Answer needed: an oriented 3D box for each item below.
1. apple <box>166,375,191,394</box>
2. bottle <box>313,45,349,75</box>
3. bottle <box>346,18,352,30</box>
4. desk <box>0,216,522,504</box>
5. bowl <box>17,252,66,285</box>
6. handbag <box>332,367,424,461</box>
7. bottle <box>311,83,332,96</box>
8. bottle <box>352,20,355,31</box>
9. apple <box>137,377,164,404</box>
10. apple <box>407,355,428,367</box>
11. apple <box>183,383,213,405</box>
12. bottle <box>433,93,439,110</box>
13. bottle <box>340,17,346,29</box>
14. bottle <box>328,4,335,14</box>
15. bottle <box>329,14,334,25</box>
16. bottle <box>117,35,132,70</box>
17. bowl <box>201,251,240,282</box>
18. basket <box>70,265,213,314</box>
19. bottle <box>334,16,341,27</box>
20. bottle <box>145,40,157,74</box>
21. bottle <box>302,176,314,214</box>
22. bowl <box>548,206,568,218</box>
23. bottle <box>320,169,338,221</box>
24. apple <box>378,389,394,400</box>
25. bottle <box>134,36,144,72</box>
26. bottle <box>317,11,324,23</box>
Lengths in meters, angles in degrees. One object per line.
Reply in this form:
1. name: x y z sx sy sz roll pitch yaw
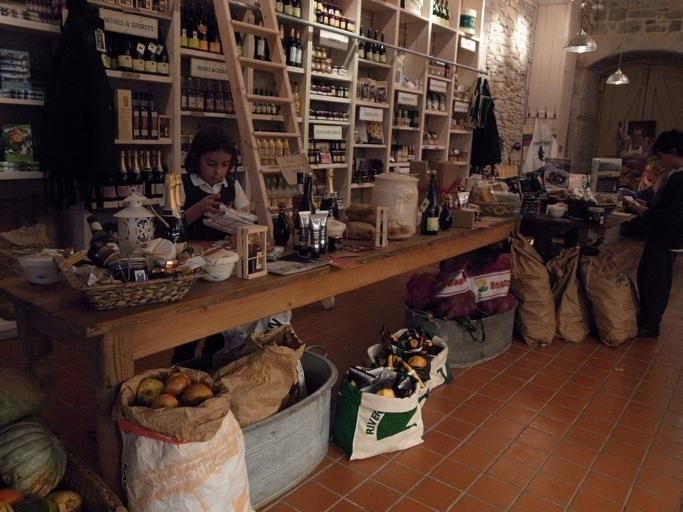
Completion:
1. apple: -0.692 0.546 2.024 0.062 0.047 0.082 -11 25 16
2. bottle: -0.151 -2.234 5.509 0.311 0.204 0.518 4 14 2
3. bottle: 0.106 -2.682 5.515 0.102 0.132 0.051 -13 18 -39
4. desk: -0.169 0.233 3.673 4.006 1.033 1.723 -15 20 -42
5. bowl: -1.346 0.059 2.159 0.207 0.117 0.181 0 11 -40
6. handbag: 0.254 0.954 2.821 0.563 0.421 0.321 0 9 -24
7. bottle: -0.256 -1.914 5.464 0.218 0.083 0.202 3 18 -1
8. bottle: 0.143 -2.681 5.527 0.048 0.134 0.067 -1 14 1
9. apple: -0.786 0.550 1.948 0.088 0.087 0.085 -7 25 -3
10. apple: 0.492 0.671 3.074 0.078 0.037 0.076 -9 12 -39
11. apple: -0.607 0.569 2.014 0.098 0.075 0.075 -8 10 -38
12. bottle: 1.468 -2.371 7.281 0.071 0.203 0.126 3 1 41
13. bottle: 0.022 -2.685 5.476 0.039 0.136 0.121 4 15 21
14. bottle: -0.100 -2.777 5.346 0.013 0.073 0.082 9 17 36
15. bottle: -0.098 -2.642 5.325 0.017 0.107 0.091 8 17 32
16. bottle: -1.808 -1.677 3.960 0.115 0.262 0.112 -1 14 0
17. bowl: -0.566 0.039 2.236 0.132 0.108 0.156 8 11 44
18. basket: -0.864 0.115 1.985 0.512 0.158 0.279 -7 16 -24
19. bottle: -0.038 -2.670 5.401 0.032 0.122 0.119 5 16 24
20. bottle: -1.624 -1.698 4.063 0.114 0.251 0.073 -7 15 -21
21. bottle: -0.190 -0.354 2.666 0.064 0.196 0.119 -2 14 -4
22. bowl: 2.172 -0.460 4.795 0.152 0.079 0.118 -16 24 -40
23. bottle: -0.082 -0.349 2.987 0.128 0.390 0.128 2 20 -1
24. apple: 0.248 0.772 2.681 0.048 0.056 0.047 4 15 23
25. bottle: -1.711 -1.693 4.027 0.109 0.250 0.094 -3 14 -9
26. bottle: -0.217 -2.611 5.207 0.101 0.101 0.018 -15 19 -43
